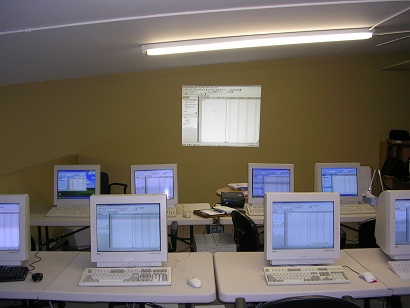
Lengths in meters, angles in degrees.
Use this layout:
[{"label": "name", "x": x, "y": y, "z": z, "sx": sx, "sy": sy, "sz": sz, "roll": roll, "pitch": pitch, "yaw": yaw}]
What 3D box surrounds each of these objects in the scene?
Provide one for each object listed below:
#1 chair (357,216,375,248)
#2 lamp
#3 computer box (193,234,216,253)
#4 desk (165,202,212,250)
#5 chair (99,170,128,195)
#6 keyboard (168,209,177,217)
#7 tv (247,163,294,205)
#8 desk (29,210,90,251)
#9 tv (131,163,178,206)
[{"label": "chair", "x": 1.857, "y": 0.948, "z": 4.348, "sx": 0.227, "sy": 0.344, "sz": 0.326, "roll": 2, "pitch": 3, "yaw": 15}, {"label": "lamp", "x": 0.787, "y": -1.813, "z": 5.777, "sx": 3.525, "sy": 0.237, "sz": 0.310, "roll": -1, "pitch": 4, "yaw": 8}, {"label": "computer box", "x": -0.007, "y": 1.123, "z": 4.582, "sx": 0.146, "sy": 0.187, "sz": 0.282, "roll": 1, "pitch": 0, "yaw": -2}, {"label": "desk", "x": -0.182, "y": 0.894, "z": 5.078, "sx": 0.632, "sy": 0.453, "sz": 0.681, "roll": -1, "pitch": 5, "yaw": -1}, {"label": "chair", "x": -1.566, "y": 0.503, "z": 6.404, "sx": 0.438, "sy": 0.575, "sz": 0.485, "roll": 0, "pitch": 2, "yaw": 3}, {"label": "keyboard", "x": -0.448, "y": 0.798, "z": 4.914, "sx": 0.113, "sy": 0.057, "sz": 0.192, "roll": -2, "pitch": 4, "yaw": -5}, {"label": "tv", "x": 0.844, "y": 0.340, "z": 5.156, "sx": 0.856, "sy": 0.768, "sz": 0.451, "roll": 0, "pitch": 1, "yaw": -2}, {"label": "desk", "x": -1.966, "y": 0.954, "z": 4.913, "sx": 0.692, "sy": 0.704, "sz": 0.692, "roll": 0, "pitch": 2, "yaw": -12}, {"label": "tv", "x": -0.669, "y": 0.365, "z": 5.155, "sx": 0.850, "sy": 0.789, "sz": 0.477, "roll": 0, "pitch": 1, "yaw": -5}]
